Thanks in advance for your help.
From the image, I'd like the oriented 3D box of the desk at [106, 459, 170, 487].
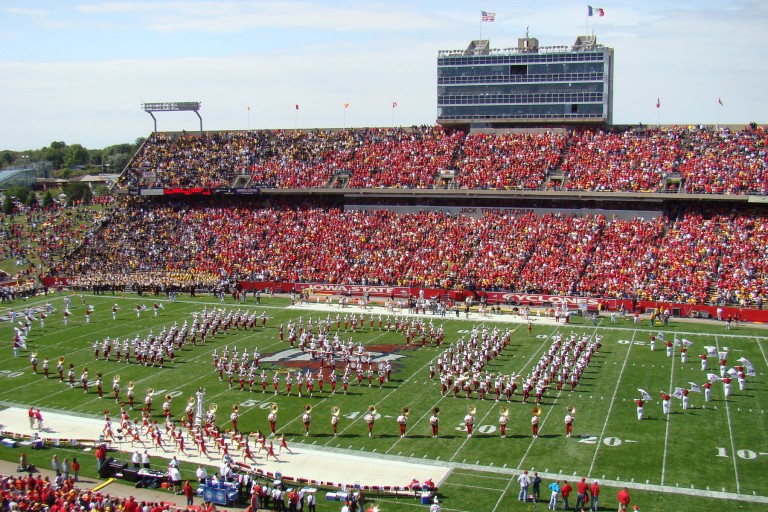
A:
[{"bbox_3d":[-11.107,9.814,51.388,1.833,0.669,1.421,7,2,15],"label":"desk"}]
